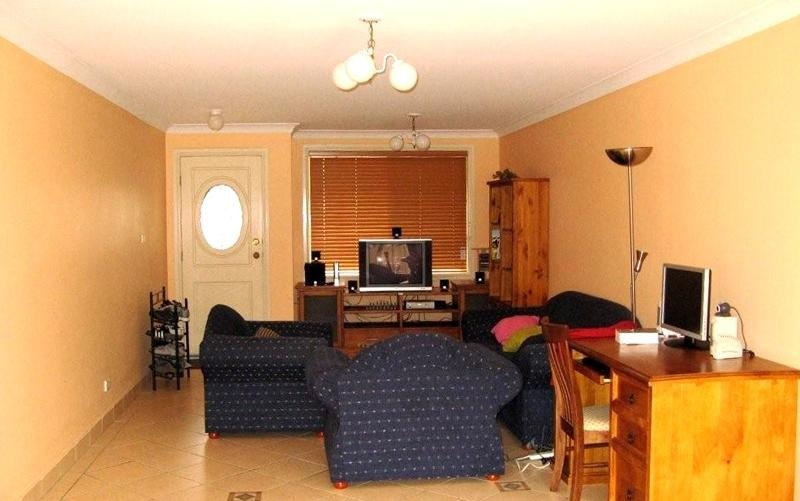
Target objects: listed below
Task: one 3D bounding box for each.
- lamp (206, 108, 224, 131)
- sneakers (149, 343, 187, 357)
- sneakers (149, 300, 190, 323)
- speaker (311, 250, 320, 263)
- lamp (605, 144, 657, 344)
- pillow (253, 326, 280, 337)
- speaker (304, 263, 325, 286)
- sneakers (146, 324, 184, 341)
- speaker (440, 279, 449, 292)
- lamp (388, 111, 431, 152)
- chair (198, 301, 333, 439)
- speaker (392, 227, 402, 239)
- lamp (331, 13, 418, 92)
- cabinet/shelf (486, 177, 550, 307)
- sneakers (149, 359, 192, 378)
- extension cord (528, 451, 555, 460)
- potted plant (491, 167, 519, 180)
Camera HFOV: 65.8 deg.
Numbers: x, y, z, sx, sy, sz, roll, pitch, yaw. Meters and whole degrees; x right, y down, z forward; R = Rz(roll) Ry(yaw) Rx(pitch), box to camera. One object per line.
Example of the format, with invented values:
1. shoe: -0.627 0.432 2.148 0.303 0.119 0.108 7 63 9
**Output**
1. lamp: -2.136 -1.496 7.140 0.203 0.249 0.193 1 4 -19
2. sneakers: -2.702 1.159 7.164 0.382 0.141 0.124 6 -5 -20
3. sneakers: -2.658 0.718 7.075 0.378 0.155 0.302 7 7 41
4. speaker: -1.126 0.096 8.310 0.191 0.177 0.133 1 6 0
5. lamp: 1.957 -0.089 5.351 0.384 1.579 1.564 3 12 18
6. pillow: -1.363 0.851 6.295 0.144 0.044 0.148 18 6 -21
7. speaker: -1.108 0.325 8.203 0.296 0.275 0.284 1 7 5
8. sneakers: -2.683 0.960 7.071 0.306 0.105 0.228 3 0 -12
9. speaker: 0.593 0.490 8.260 0.144 0.196 0.137 -1 6 -12
10. lamp: 0.162 -1.446 7.770 0.612 0.489 0.229 3 9 26
11. chair: -1.318 1.203 6.023 1.227 1.102 1.609 0 1 -11
12. speaker: -0.034 -0.225 8.467 0.161 0.205 0.153 -1 6 -12
13. lamp: -0.167 -1.502 4.768 0.770 0.603 0.284 -6 0 -42
14. cabinet/shelf: 1.456 -0.104 7.548 0.585 1.545 0.868 -2 12 -4
15. sneakers: -2.731 1.388 7.173 0.565 0.205 0.185 9 -8 -12
16. extension cord: 1.236 1.791 5.367 0.183 0.039 0.170 -2 -6 6
17. potted plant: 1.310 -0.958 7.646 0.305 0.128 0.295 0 -4 5
